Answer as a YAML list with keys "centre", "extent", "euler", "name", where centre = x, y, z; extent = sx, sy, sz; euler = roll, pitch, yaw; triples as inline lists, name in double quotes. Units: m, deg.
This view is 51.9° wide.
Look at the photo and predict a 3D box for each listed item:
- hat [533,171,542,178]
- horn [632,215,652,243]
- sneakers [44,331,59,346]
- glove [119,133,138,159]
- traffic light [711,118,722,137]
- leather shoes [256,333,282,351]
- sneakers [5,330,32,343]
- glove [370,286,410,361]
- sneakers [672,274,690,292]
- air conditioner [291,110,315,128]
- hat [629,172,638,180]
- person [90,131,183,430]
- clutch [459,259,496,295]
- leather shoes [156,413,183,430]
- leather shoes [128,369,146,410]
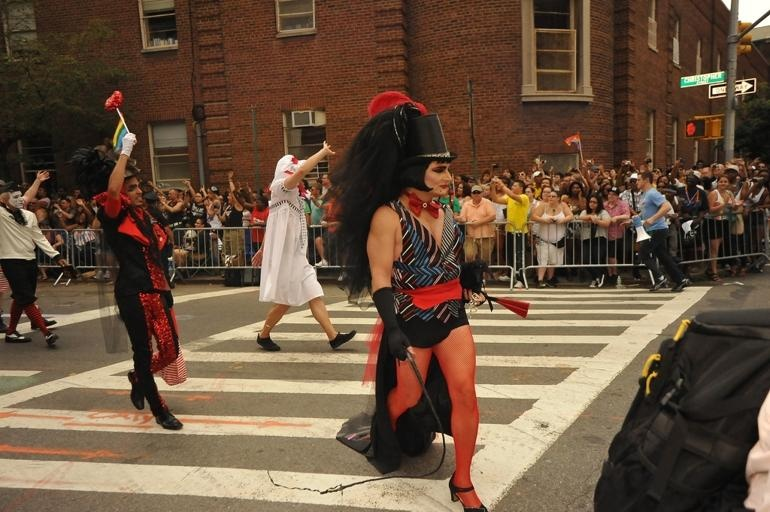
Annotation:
- centre: [3.560, -1.870, 18.470]
  extent: [0.151, 0.107, 0.221]
  euler: [-15, -6, 16]
  name: "hat"
- centre: [4.923, -0.503, 15.136]
  extent: [0.263, 0.492, 0.388]
  euler: [-4, 7, -10]
  name: "horn"
- centre: [-5.453, 1.366, 12.831]
  extent: [0.141, 0.143, 0.369]
  euler: [-18, 0, -35]
  name: "sneakers"
- centre: [-3.215, -1.371, 9.973]
  extent: [0.218, 0.320, 0.140]
  euler: [-1, -18, 40]
  name: "glove"
- centre: [9.529, -3.638, 22.649]
  extent: [0.209, 0.553, 0.920]
  euler: [2, 8, 29]
  name: "traffic light"
- centre: [-1.839, 1.348, 12.252]
  extent: [0.387, 0.138, 0.207]
  euler: [13, 6, 32]
  name: "leather shoes"
- centre: [-6.194, 1.367, 13.283]
  extent: [0.525, 0.193, 0.178]
  euler: [0, 3, -14]
  name: "sneakers"
- centre: [0.067, 0.733, 8.557]
  extent: [0.245, 0.754, 0.414]
  euler: [-5, 8, -20]
  name: "glove"
- centre: [5.692, 0.535, 15.209]
  extent: [0.268, 0.270, 0.527]
  euler: [0, 7, 19]
  name: "sneakers"
- centre: [-2.417, -3.973, 23.277]
  extent: [0.876, 0.483, 0.443]
  euler: [3, 11, 22]
  name: "air conditioner"
- centre: [5.462, -1.711, 17.262]
  extent: [0.277, 0.117, 0.383]
  euler: [2, 16, 21]
  name: "hat"
- centre: [-3.142, 0.324, 10.029]
  extent: [0.988, 3.709, 0.646]
  euler: [-2, 8, 6]
  name: "person"
- centre: [1.083, 0.256, 9.107]
  extent: [0.519, 0.428, 0.349]
  euler: [2, -2, -33]
  name: "clutch"
- centre: [-2.729, 2.097, 9.957]
  extent: [0.417, 0.154, 0.162]
  euler: [1, 3, 36]
  name: "leather shoes"
- centre: [-3.188, 1.733, 10.053]
  extent: [0.216, 0.549, 0.248]
  euler: [-4, 6, -16]
  name: "leather shoes"
